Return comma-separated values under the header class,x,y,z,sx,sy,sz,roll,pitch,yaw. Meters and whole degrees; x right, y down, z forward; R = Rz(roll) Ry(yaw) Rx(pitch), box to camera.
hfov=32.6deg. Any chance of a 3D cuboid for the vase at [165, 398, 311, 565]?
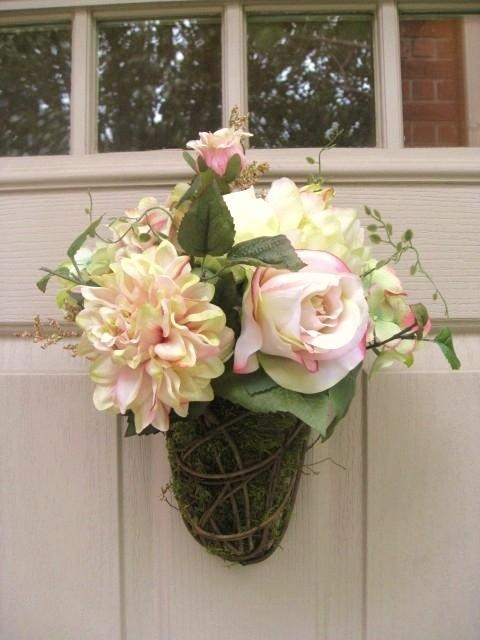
class,x,y,z,sx,sy,sz,roll,pitch,yaw
vase,-0.005,0.192,1.026,0.207,0.191,0.079,0,11,1
